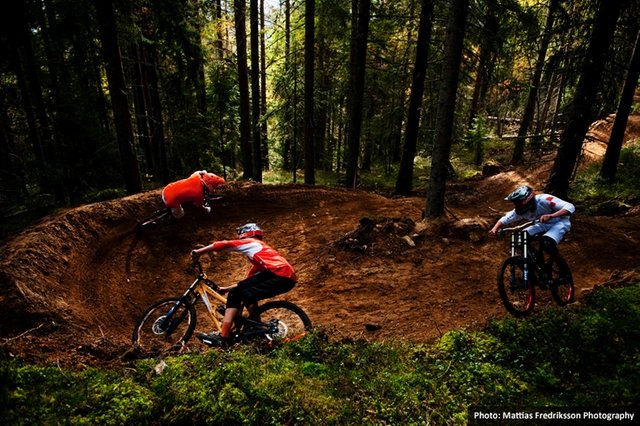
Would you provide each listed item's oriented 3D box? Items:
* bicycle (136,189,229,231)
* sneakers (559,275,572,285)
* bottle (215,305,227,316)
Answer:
[{"bbox_3d":[-5.716,-0.058,18.838,2.621,1.244,1.558,-29,-20,7],"label":"bicycle"},{"bbox_3d":[8.346,2.277,16.013,0.651,0.179,0.293,1,-15,-40],"label":"sneakers"},{"bbox_3d":[-3.242,3.180,15.431,0.238,0.210,0.394,34,18,1],"label":"bottle"}]
